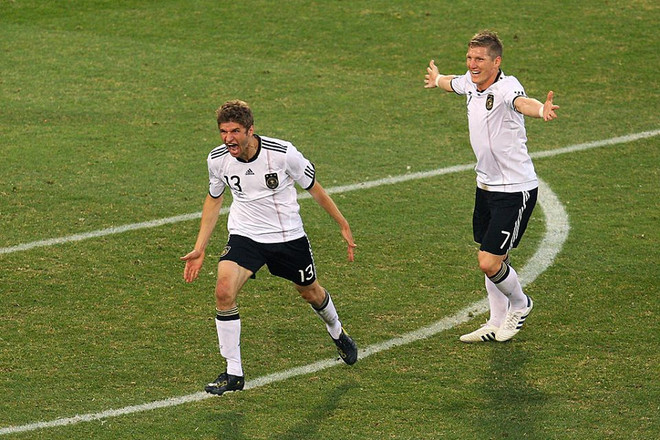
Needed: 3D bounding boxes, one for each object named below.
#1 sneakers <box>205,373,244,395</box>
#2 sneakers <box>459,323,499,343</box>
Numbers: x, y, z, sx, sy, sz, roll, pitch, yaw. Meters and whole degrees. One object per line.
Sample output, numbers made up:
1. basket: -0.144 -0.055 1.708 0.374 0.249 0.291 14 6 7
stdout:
1. sneakers: -1.015 1.580 10.291 0.449 0.185 0.163 -3 19 -7
2. sneakers: 1.571 1.183 11.084 0.479 0.159 0.152 -3 5 -6
